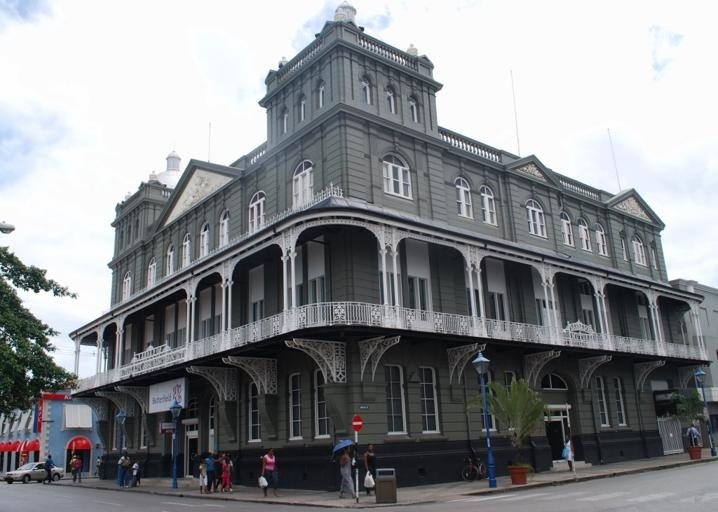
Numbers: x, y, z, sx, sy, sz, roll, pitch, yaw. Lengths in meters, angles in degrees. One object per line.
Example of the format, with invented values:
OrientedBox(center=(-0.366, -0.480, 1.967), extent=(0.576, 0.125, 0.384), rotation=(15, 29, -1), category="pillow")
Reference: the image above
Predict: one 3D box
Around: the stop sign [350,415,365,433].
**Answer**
OrientedBox(center=(-0.079, 6.832, 25.969), extent=(0.343, 0.632, 0.875), rotation=(0, -23, -7), category="stop sign")

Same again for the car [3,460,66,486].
OrientedBox(center=(-23.974, 16.063, 47.002), extent=(3.407, 1.472, 1.285), rotation=(18, -30, -40), category="car")

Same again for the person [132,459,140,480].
OrientedBox(center=(-12.770, 12.442, 36.461), extent=(0.304, 0.888, 0.893), rotation=(7, -25, -21), category="person")
